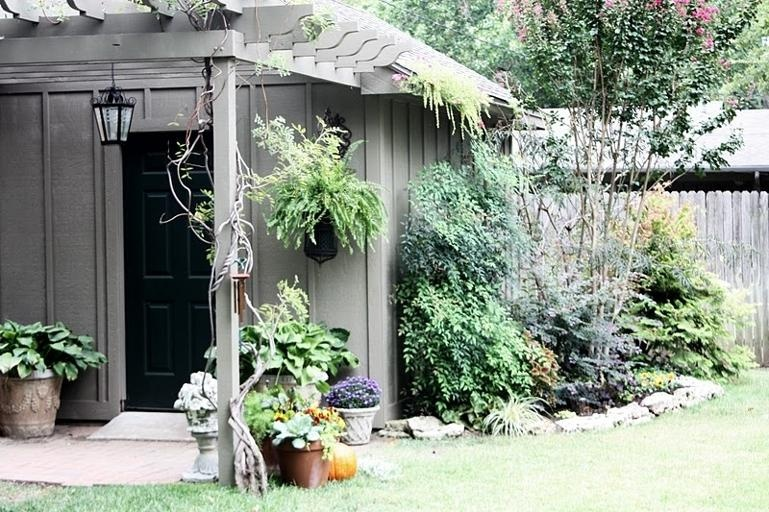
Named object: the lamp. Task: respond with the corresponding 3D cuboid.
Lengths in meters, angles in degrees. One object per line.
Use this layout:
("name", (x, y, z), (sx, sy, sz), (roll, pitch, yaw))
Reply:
("lamp", (-2.897, -1.570, 7.769), (0.478, 0.744, 0.452), (-4, 4, -42))

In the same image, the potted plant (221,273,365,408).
("potted plant", (-1.031, 0.877, 7.509), (0.987, 1.180, 1.498), (4, 7, 33))

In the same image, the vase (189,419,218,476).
("vase", (-1.619, 1.716, 6.397), (0.318, 0.538, 0.309), (-1, 6, -6))

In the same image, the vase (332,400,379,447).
("vase", (-0.302, 1.717, 7.534), (0.439, 0.341, 0.460), (0, -4, -3))
